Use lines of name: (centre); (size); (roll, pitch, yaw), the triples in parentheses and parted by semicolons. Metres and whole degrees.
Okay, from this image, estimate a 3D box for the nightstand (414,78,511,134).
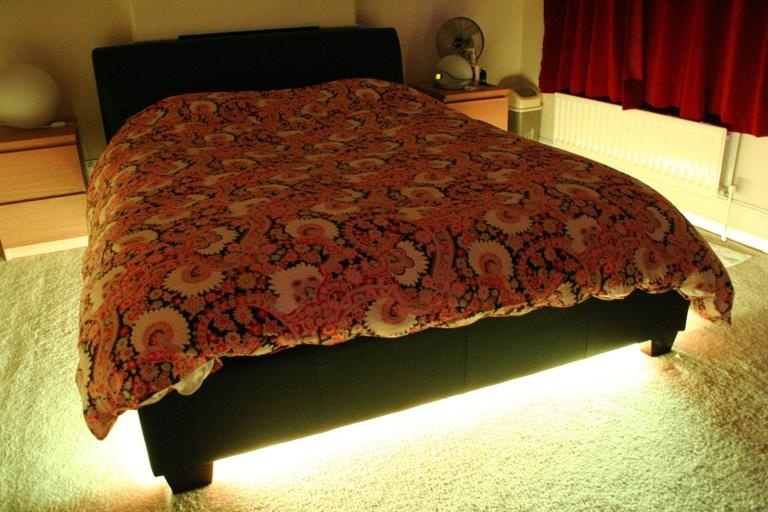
nightstand: (0.603, -1.135, 4.731); (0.592, 0.508, 0.568); (-17, 30, -31)
